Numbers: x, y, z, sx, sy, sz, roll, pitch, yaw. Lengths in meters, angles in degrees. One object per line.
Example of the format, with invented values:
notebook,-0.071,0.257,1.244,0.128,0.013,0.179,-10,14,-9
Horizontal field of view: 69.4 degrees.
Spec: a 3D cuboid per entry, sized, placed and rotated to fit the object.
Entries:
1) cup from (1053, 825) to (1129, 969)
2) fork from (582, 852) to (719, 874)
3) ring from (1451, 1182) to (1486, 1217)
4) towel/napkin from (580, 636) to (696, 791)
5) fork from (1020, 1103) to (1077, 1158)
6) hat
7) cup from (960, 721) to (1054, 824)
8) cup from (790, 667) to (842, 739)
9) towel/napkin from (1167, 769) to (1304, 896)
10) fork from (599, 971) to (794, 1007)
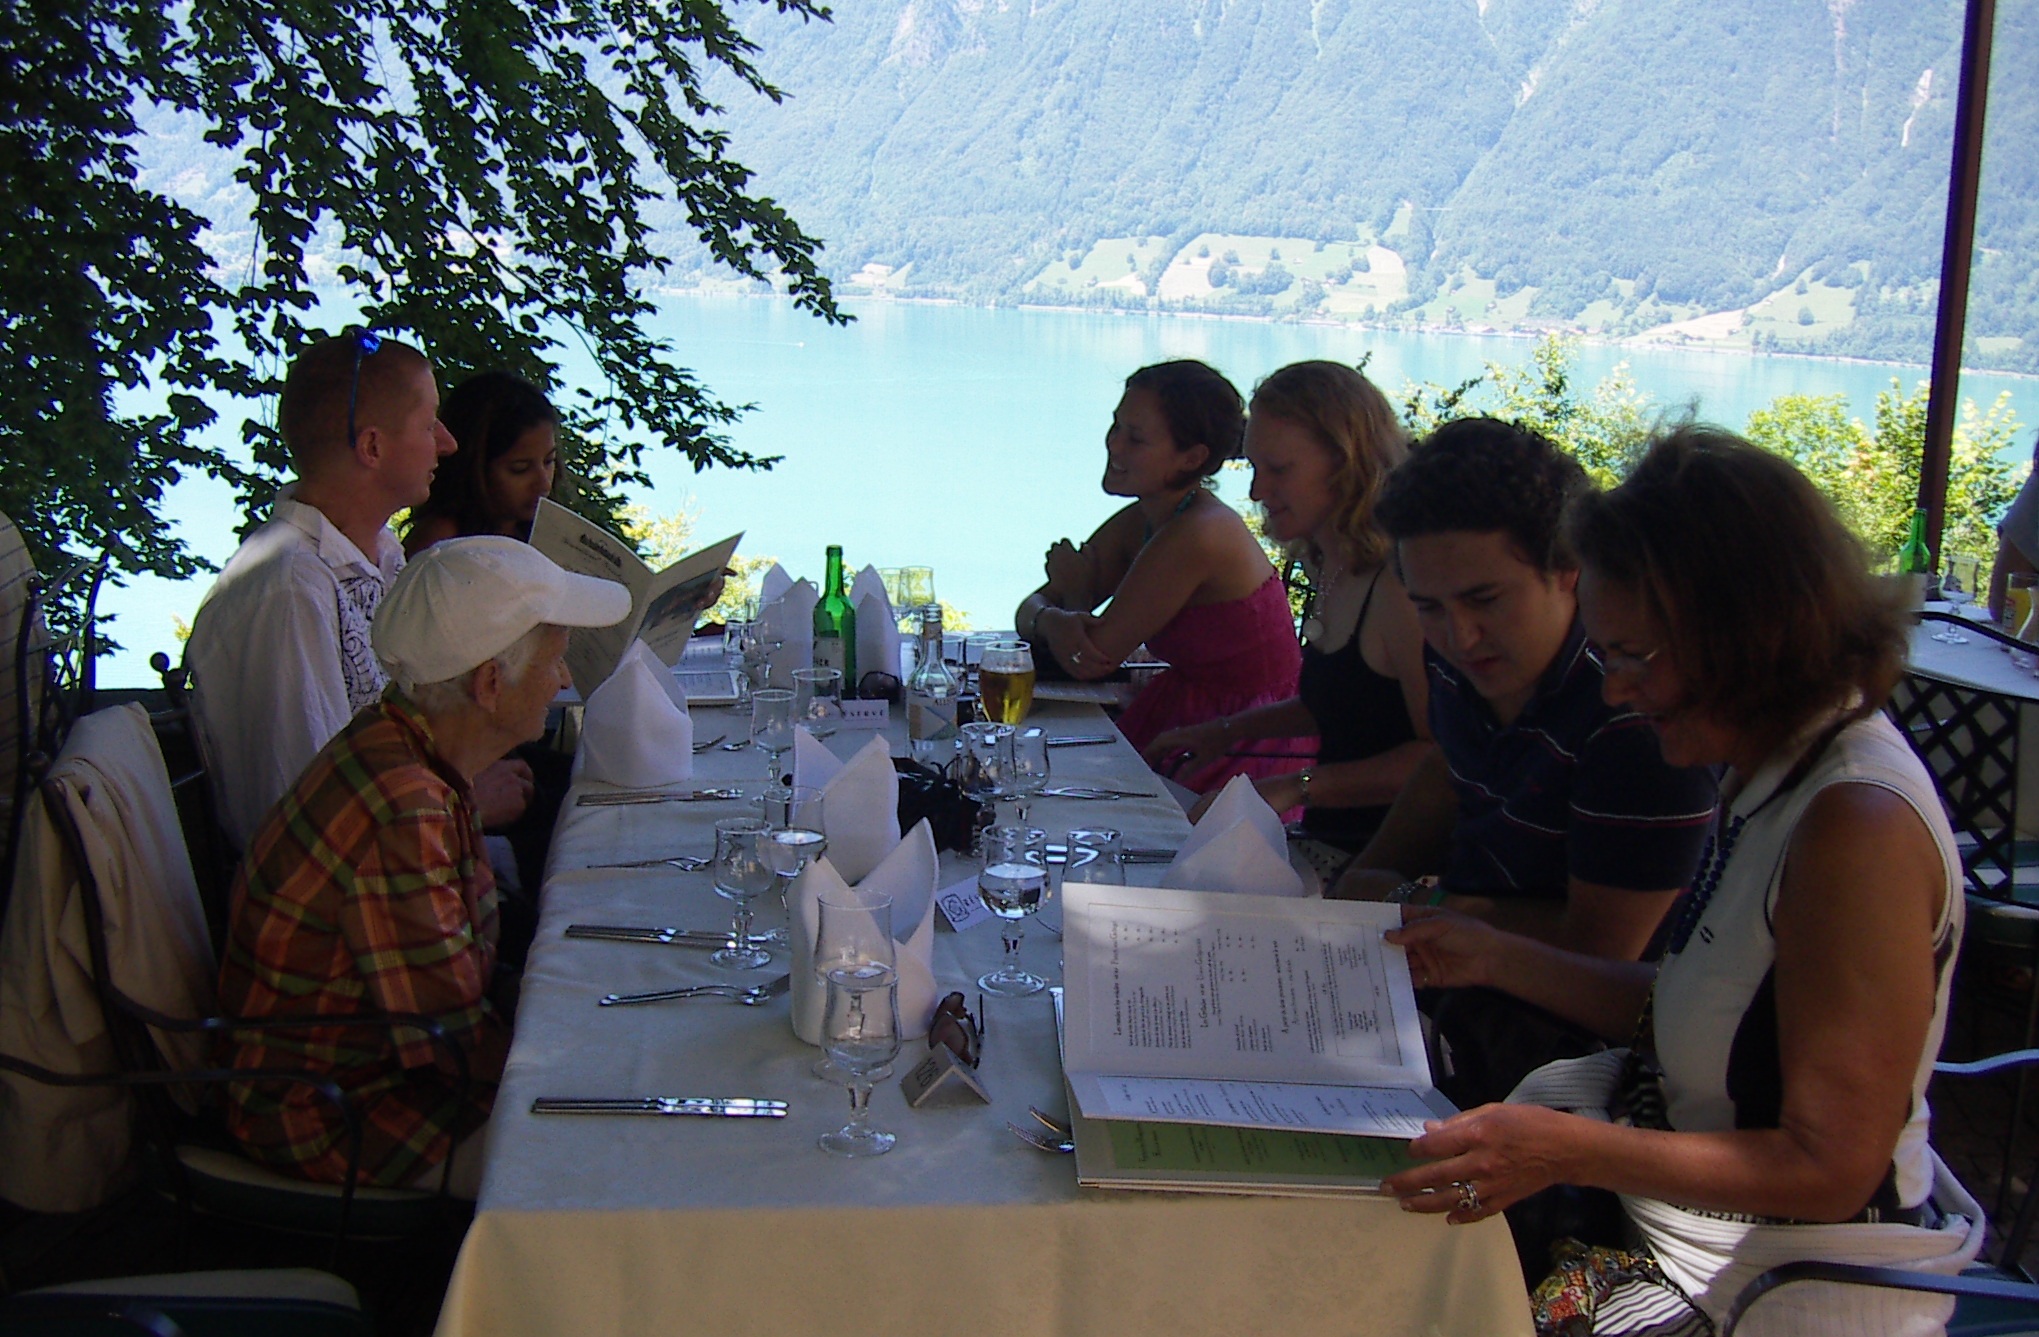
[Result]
cup,0.103,0.389,2.464,0.156,0.163,0.150,0,7,0
fork,-0.675,0.355,2.703,0.247,0.036,0.038,0,40,-4
ring,0.572,0.675,1.872,0.032,0.045,0.016,-35,12,-17
towel/napkin,-0.797,0.097,3.126,0.264,0.305,0.288,0,4,-4
fork,0.044,0.621,1.970,0.023,0.032,0.174,-5,8,-11
hat,-0.883,-0.105,2.484,0.340,0.177,0.218,-14,24,-21
cup,-0.025,0.187,2.842,0.137,0.204,0.085,-3,-9,-8
cup,-0.474,0.076,3.264,0.143,0.156,0.123,4,12,17
towel/napkin,0.363,0.268,2.431,0.181,0.191,0.194,-4,11,17
fork,-0.497,0.492,2.266,0.247,0.040,0.035,4,35,-13
